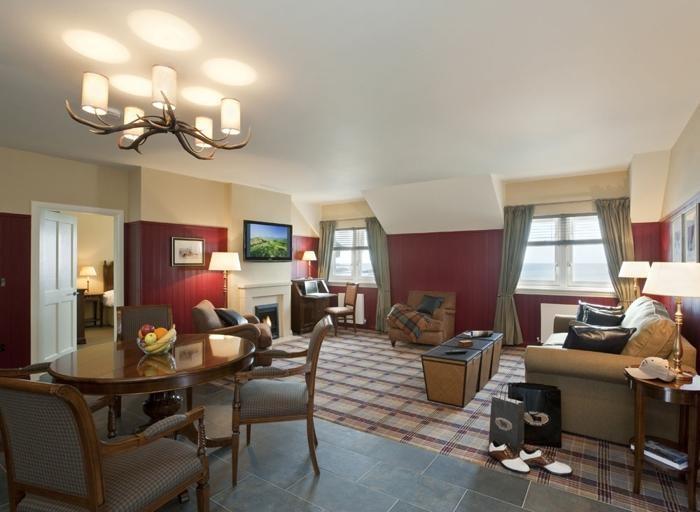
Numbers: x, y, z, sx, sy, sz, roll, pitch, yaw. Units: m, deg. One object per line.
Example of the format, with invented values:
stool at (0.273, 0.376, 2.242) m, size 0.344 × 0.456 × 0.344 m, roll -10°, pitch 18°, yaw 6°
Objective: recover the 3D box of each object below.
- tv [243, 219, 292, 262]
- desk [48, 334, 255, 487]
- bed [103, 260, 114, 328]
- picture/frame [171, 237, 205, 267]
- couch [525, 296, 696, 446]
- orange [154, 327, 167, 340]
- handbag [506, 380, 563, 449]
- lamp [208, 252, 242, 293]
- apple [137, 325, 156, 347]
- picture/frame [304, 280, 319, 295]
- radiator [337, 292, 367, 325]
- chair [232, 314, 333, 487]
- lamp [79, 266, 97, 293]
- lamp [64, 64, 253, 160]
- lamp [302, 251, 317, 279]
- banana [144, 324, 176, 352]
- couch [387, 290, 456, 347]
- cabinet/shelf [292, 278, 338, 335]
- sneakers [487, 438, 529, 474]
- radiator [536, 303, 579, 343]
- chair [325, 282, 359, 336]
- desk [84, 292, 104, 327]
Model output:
tv at (-1.534, -0.254, 8.717) m, size 0.057 × 0.748 × 1.113 m, roll -2°, pitch -2°, yaw 43°
desk at (-1.723, 1.219, 4.172) m, size 1.168 × 0.445 × 1.195 m, roll 0°, pitch -3°, yaw -3°
bed at (-5.079, 0.811, 9.807) m, size 0.232 × 1.306 × 0.986 m, roll -5°, pitch 9°, yaw -28°
picture/frame at (-2.673, -0.072, 7.617) m, size 0.036 × 0.400 × 0.469 m, roll -4°, pitch -5°, yaw 40°
couch at (2.740, 1.172, 4.971) m, size 1.154 × 1.201 × 1.683 m, roll -1°, pitch -5°, yaw 33°
orange at (-1.764, 0.709, 4.329) m, size 0.105 × 0.109 × 0.107 m, roll 1°, pitch 3°, yaw 26°
handbag at (1.802, 1.576, 4.567) m, size 0.563 × 0.635 × 0.269 m, roll -1°, pitch -3°, yaw 21°
lamp at (-2.054, 0.290, 7.612) m, size 0.707 × 0.706 × 0.709 m, roll 2°, pitch 1°, yaw -25°
apple at (-1.858, 0.717, 4.263) m, size 0.182 × 0.225 × 0.173 m, roll 0°, pitch -1°, yaw -44°
picture/frame at (-0.804, 0.632, 9.614) m, size 0.222 × 0.294 × 0.425 m, roll -4°, pitch -5°, yaw 26°
radiator at (0.060, 1.090, 9.751) m, size 0.691 × 0.941 × 0.093 m, roll 2°, pitch 2°, yaw 39°
chair at (-0.702, 1.348, 4.593) m, size 1.174 × 1.337 × 1.122 m, roll 1°, pitch -1°, yaw -36°
lamp at (-5.473, 0.479, 9.828) m, size 0.257 × 0.551 × 0.361 m, roll 3°, pitch 9°, yaw 18°
lamp at (-1.867, -1.313, 4.476) m, size 1.415 × 0.541 × 1.606 m, roll 4°, pitch 1°, yaw -34°
lamp at (-0.910, 0.174, 10.450) m, size 0.322 × 0.621 × 0.615 m, roll -1°, pitch 8°, yaw -5°
banana at (-1.731, 0.762, 4.282) m, size 0.208 × 0.143 × 0.228 m, roll -3°, pitch -7°, yaw 11°
couch at (1.361, 1.147, 8.600) m, size 1.346 × 0.951 × 1.326 m, roll 1°, pitch -1°, yaw -27°
cabinet/shelf at (-0.749, 1.035, 9.657) m, size 0.770 × 1.011 × 1.043 m, roll 4°, pitch 3°, yaw 29°
sneakers at (1.459, 1.860, 4.298) m, size 0.151 × 0.125 × 0.301 m, roll -3°, pitch 3°, yaw -45°
radiator at (3.121, 0.991, 6.978) m, size 0.347 × 0.627 × 0.606 m, roll 10°, pitch -14°, yaw -40°
chair at (-0.169, 1.052, 9.490) m, size 0.567 × 0.996 × 0.541 m, roll 1°, pitch 2°, yaw -25°
desk at (-5.487, 1.122, 9.784) m, size 0.460 × 0.674 × 0.699 m, roll -1°, pitch -1°, yaw -41°
